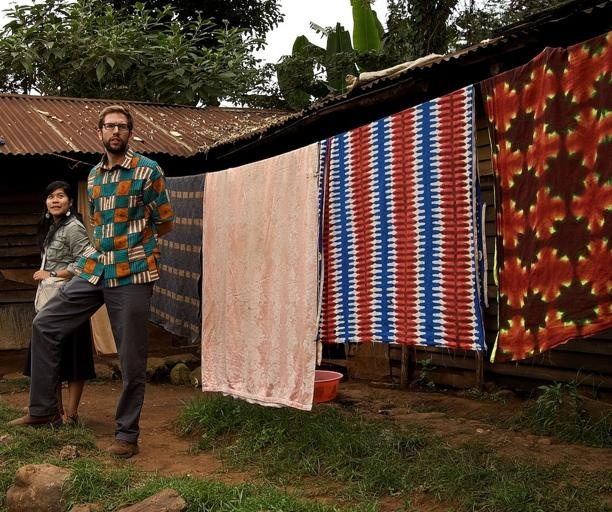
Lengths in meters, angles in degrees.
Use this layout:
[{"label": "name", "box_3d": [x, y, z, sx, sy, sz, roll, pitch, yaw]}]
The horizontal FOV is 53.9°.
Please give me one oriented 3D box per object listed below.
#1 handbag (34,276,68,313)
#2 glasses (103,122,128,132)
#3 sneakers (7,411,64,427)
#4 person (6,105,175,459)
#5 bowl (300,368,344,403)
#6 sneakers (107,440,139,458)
[{"label": "handbag", "box_3d": [-1.906, 0.288, 4.585, 0.269, 0.320, 0.188, 7, -11, -35]}, {"label": "glasses", "box_3d": [-1.316, -0.914, 4.227, 0.164, 0.049, 0.049, 0, -2, -20]}, {"label": "sneakers", "box_3d": [-1.993, 1.235, 4.545, 0.388, 0.151, 0.123, 5, -1, -9]}, {"label": "person", "box_3d": [-1.475, 0.173, 4.362, 0.915, 2.438, 0.351, -1, -2, 17]}, {"label": "bowl", "box_3d": [0.188, 1.162, 5.472, 0.474, 0.185, 0.455, -1, -2, 0]}, {"label": "sneakers", "box_3d": [-1.245, 1.339, 4.180, 0.223, 0.129, 0.152, 1, -3, -28]}]
